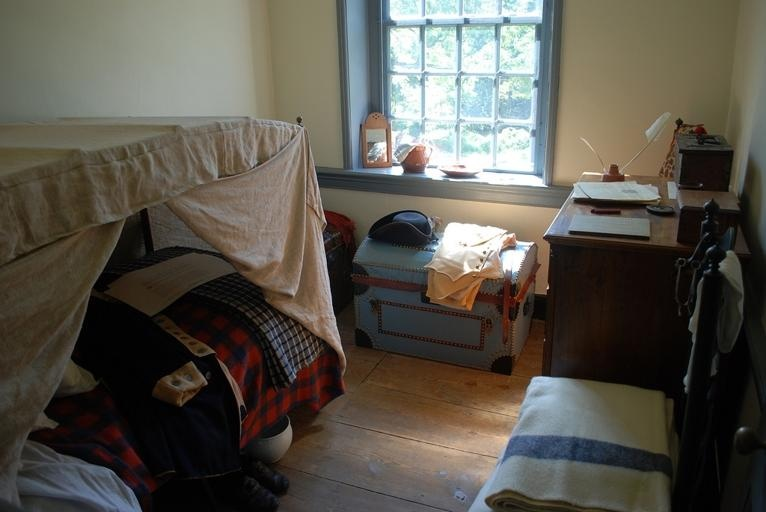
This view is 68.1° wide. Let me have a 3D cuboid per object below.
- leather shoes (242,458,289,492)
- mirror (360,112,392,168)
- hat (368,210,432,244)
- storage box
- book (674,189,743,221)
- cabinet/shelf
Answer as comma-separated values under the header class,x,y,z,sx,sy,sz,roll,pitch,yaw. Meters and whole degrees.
class,x,y,z,sx,sy,sz,roll,pitch,yaw
leather shoes,-0.524,0.964,2.477,0.185,0.076,0.070,27,30,3
mirror,-0.048,-0.784,3.860,0.203,0.351,0.137,-5,21,-13
hat,0.111,-0.157,3.334,0.279,0.109,0.217,1,23,10
storage box,0.414,0.010,3.255,1.124,0.783,0.708,11,30,23
book,1.262,-0.217,2.199,0.169,0.041,0.174,7,28,19
cabinet/shelf,1.196,0.150,2.703,0.663,1.079,1.143,9,28,23
